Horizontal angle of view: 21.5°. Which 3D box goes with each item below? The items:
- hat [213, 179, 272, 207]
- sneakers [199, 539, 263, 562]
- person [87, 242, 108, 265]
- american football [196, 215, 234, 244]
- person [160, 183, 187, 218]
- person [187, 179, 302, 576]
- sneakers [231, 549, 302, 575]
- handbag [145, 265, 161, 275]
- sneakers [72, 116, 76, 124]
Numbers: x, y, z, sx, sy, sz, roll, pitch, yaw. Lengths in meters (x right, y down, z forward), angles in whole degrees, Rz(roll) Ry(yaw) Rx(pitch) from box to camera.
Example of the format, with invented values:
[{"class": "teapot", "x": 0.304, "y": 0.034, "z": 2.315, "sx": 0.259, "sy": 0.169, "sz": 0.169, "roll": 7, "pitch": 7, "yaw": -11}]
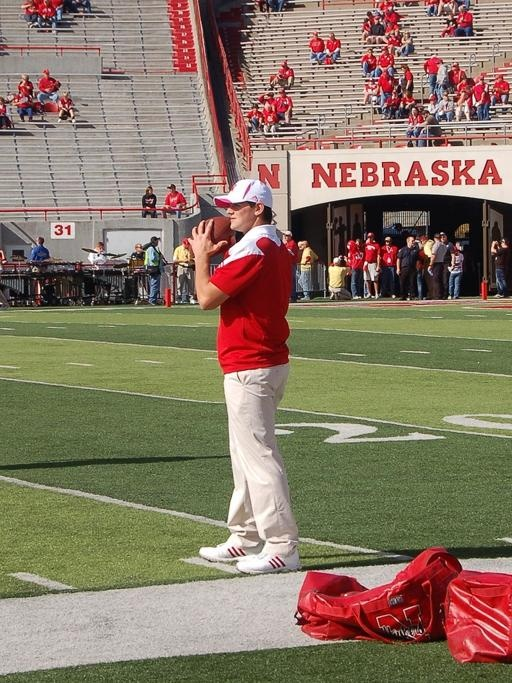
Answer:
[{"class": "hat", "x": -0.038, "y": -0.666, "z": 6.103, "sx": 0.210, "sy": 0.110, "sz": 0.135, "roll": -1, "pitch": 2, "yaw": -8}, {"class": "sneakers", "x": -0.113, "y": 0.932, "z": 6.114, "sx": 0.253, "sy": 0.102, "sz": 0.105, "roll": 1, "pitch": 5, "yaw": -11}, {"class": "person", "x": -4.020, "y": -2.262, "z": 34.778, "sx": 0.425, "sy": 0.597, "sz": 0.906, "roll": -3, "pitch": 4, "yaw": -8}, {"class": "american football", "x": -0.177, "y": -0.508, "z": 6.154, "sx": 0.124, "sy": 0.108, "sz": 0.100, "roll": 0, "pitch": 4, "yaw": -28}, {"class": "person", "x": -2.188, "y": -3.823, "z": 36.829, "sx": 0.645, "sy": 0.901, "sz": 1.600, "roll": -3, "pitch": 4, "yaw": -3}, {"class": "person", "x": -0.054, "y": 0.143, "z": 6.046, "sx": 0.454, "sy": 1.721, "sz": 0.463, "roll": -2, "pitch": 4, "yaw": 6}, {"class": "sneakers", "x": 0.055, "y": 0.974, "z": 5.969, "sx": 0.287, "sy": 0.124, "sz": 0.103, "roll": 2, "pitch": -1, "yaw": -4}, {"class": "handbag", "x": -2.479, "y": -1.738, "z": 33.055, "sx": 0.343, "sy": 0.227, "sz": 0.571, "roll": -3, "pitch": 4, "yaw": -6}, {"class": "sneakers", "x": -5.801, "y": -7.087, "z": 43.317, "sx": 0.094, "sy": 0.155, "sz": 0.271, "roll": 0, "pitch": 1, "yaw": -13}]
